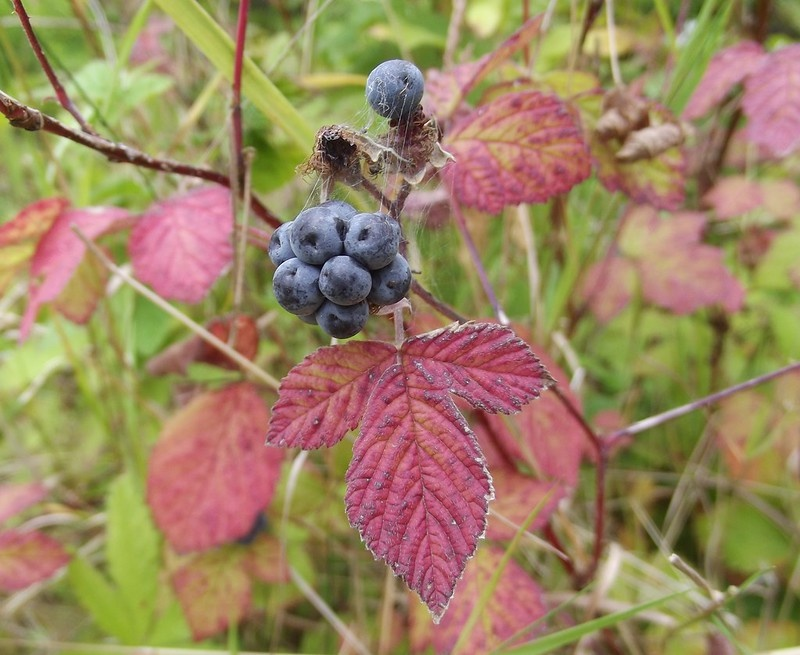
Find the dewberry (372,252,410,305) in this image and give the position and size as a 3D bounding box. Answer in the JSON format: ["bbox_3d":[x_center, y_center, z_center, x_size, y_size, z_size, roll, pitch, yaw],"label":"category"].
[{"bbox_3d":[-0.014,-0.091,1.681,0.078,0.075,0.103,11,96,53],"label":"dewberry"}]

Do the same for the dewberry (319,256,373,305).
[{"bbox_3d":[-0.094,-0.088,1.621,0.074,0.067,0.092,5,117,11],"label":"dewberry"}]

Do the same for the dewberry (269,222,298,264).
[{"bbox_3d":[-0.211,-0.159,1.690,0.057,0.068,0.085,2,87,4],"label":"dewberry"}]

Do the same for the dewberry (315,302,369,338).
[{"bbox_3d":[-0.100,-0.012,1.614,0.066,0.068,0.093,-2,86,4],"label":"dewberry"}]
